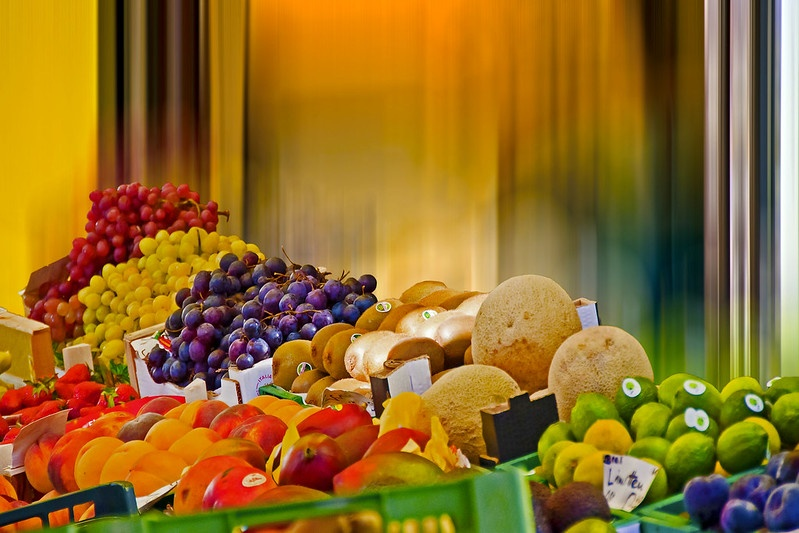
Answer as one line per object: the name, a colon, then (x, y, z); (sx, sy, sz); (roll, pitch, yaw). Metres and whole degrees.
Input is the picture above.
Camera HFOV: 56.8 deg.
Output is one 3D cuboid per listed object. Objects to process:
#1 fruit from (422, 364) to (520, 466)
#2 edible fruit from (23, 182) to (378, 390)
fruit: (0.234, 0.520, 2.655); (0.324, 0.298, 0.270); (-10, 21, -2)
edible fruit: (-1.744, 0.014, 5.138); (1.017, 1.441, 1.012); (-11, -32, 16)
